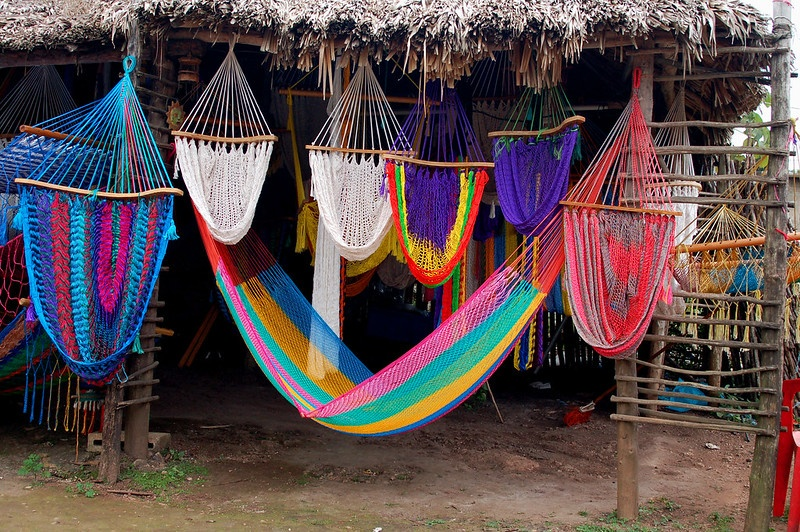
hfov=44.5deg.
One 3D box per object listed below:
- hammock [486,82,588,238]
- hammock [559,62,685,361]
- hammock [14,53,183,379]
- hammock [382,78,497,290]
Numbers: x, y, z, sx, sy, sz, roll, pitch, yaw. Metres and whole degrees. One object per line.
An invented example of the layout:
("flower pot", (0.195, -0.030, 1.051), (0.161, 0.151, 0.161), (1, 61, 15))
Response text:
("hammock", (1.212, -1.036, 8.646), (0.798, 1.506, 0.286), (-2, -12, 25))
("hammock", (1.812, -0.406, 8.005), (0.907, 2.190, 1.085), (4, 12, 16))
("hammock", (-2.582, -0.406, 8.368), (1.268, 2.687, 1.183), (-4, 12, -22))
("hammock", (0.354, -0.867, 8.778), (1.019, 2.170, 0.298), (5, -20, -1))
